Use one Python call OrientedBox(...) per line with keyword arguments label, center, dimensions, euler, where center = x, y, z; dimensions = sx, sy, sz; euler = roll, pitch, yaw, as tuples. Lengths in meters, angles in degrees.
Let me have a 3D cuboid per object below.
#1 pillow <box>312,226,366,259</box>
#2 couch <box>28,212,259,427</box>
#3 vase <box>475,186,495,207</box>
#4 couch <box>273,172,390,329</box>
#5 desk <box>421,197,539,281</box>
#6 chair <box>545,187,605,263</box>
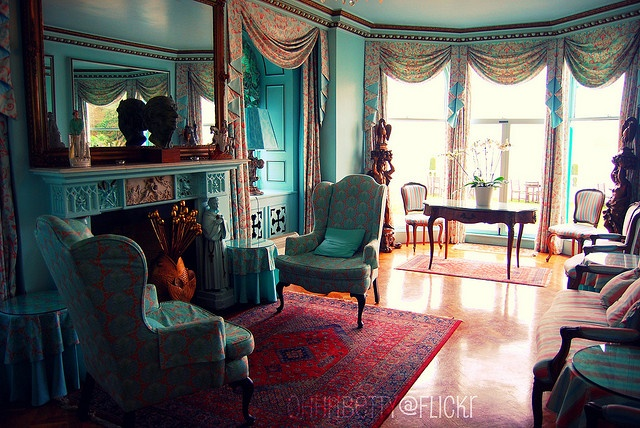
OrientedBox(label="pillow", center=(0.218, 0.322, 5.059), dimensions=(0.494, 0.283, 0.365), euler=(3, 9, 26))
OrientedBox(label="couch", center=(-1.432, 0.646, 3.826), dimensions=(1.574, 2.058, 1.530), euler=(-6, 10, -38))
OrientedBox(label="vase", center=(2.240, -0.228, 6.062), dimensions=(0.254, 0.294, 0.260), euler=(-1, -5, 31))
OrientedBox(label="couch", center=(0.246, 0.265, 5.299), dimensions=(1.442, 1.938, 1.537), euler=(3, 7, 24))
OrientedBox(label="desk", center=(2.209, 0.321, 6.378), dimensions=(1.491, 0.973, 0.928), euler=(6, 12, 32))
OrientedBox(label="chair", center=(3.812, 0.157, 6.567), dimensions=(0.593, 1.031, 0.583), euler=(-9, 16, -22))
